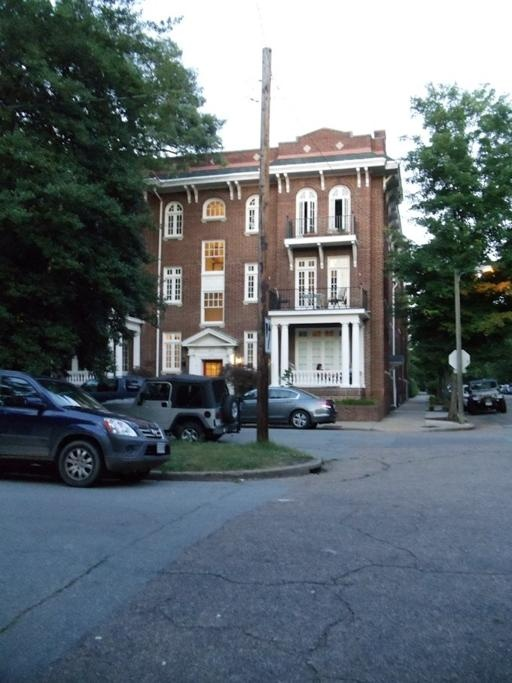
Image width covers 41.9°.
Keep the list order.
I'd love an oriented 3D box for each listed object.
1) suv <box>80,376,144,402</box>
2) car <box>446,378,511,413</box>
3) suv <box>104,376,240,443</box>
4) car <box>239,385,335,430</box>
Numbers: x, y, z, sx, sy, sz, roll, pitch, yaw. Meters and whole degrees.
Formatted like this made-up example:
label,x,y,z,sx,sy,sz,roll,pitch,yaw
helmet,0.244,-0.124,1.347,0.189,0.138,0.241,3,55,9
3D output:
label,x,y,z,sx,sy,sz,roll,pitch,yaw
suv,-4.719,1.433,21.222,2.049,0.897,1.116,2,-1,16
car,12.954,3.119,38.781,2.096,1.832,3.886,-2,-12,-2
suv,-1.897,1.411,15.256,2.679,1.356,1.404,3,-1,10
car,1.076,2.196,22.877,3.130,1.010,1.421,2,-5,8
